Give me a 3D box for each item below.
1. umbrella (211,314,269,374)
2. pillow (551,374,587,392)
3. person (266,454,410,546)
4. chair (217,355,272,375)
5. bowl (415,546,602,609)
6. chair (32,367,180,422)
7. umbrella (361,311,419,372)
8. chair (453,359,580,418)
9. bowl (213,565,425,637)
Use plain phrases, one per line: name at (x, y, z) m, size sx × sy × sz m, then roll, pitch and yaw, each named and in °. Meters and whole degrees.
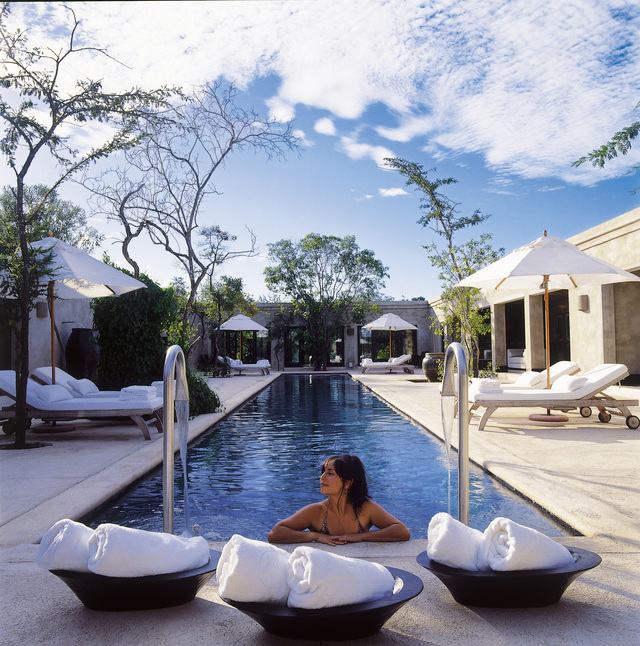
umbrella at (-3.520, 0.074, 25.801) m, size 2.074 × 2.595 × 2.732 m, roll 0°, pitch 1°, yaw 4°
pillow at (3.646, 0.893, 8.159) m, size 0.277 × 0.103 × 0.296 m, roll -21°, pitch 7°, yaw 26°
person at (0.137, 1.023, 3.279) m, size 0.782 × 0.517 × 0.422 m, roll 0°, pitch -15°, yaw 0°
chair at (-3.455, 1.950, 25.292) m, size 1.986 × 0.858 × 1.222 m, roll -2°, pitch -3°, yaw -1°
bowl at (0.721, 0.951, 2.203) m, size 0.580 × 0.260 × 0.485 m, roll 4°, pitch 1°, yaw 0°
chair at (-2.968, 0.985, 7.655) m, size 1.573 × 0.687 × 1.225 m, roll 0°, pitch -1°, yaw -2°
umbrella at (3.369, 0.598, 27.114) m, size 2.392 × 3.411 × 2.083 m, roll 2°, pitch 2°, yaw 12°
chair at (3.346, 0.971, 9.584) m, size 2.234 × 0.986 × 1.221 m, roll -1°, pitch -3°, yaw -1°
bowl at (0.049, 1.003, 1.911) m, size 0.716 × 0.178 × 0.306 m, roll 3°, pitch -6°, yaw -18°
